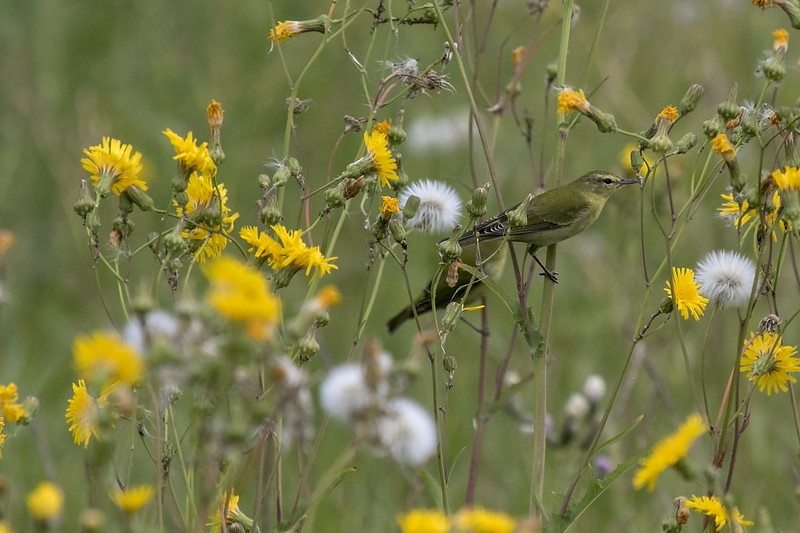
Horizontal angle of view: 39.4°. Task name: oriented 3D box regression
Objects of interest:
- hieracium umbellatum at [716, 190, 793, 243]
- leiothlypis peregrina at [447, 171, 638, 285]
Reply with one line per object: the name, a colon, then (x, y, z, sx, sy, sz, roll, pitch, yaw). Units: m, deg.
hieracium umbellatum: (2.160, -0.344, 6.883, 0.140, 0.414, 0.355, -4, 33, -23)
leiothlypis peregrina: (0.974, -0.324, 8.311, 1.313, 0.459, 1.003, 10, 83, 7)
